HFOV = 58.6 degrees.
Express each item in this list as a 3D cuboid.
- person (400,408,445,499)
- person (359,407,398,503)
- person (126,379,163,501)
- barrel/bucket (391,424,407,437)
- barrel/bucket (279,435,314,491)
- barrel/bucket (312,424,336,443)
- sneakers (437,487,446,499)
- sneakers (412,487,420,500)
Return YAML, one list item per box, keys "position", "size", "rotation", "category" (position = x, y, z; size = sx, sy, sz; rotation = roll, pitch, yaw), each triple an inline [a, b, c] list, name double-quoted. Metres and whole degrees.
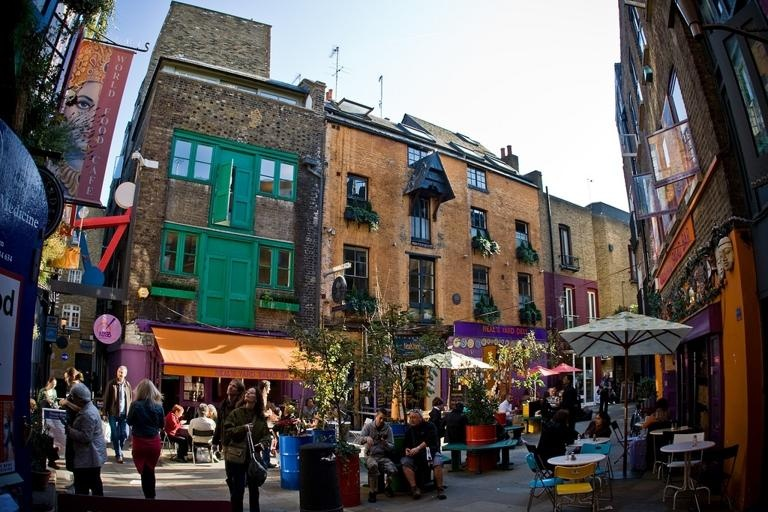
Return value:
- position: [0.918, 4.734, 16.597]
  size: [1.055, 2.093, 1.005]
  rotation: [1, -18, -10]
  category: "person"
- position: [-0.103, 4.746, 16.457]
  size: [0.863, 2.160, 0.615]
  rotation: [3, -18, -18]
  category: "person"
- position: [-5.030, 3.794, 14.435]
  size: [0.710, 2.428, 0.564]
  rotation: [3, -18, -18]
  category: "person"
- position: [0.409, 4.549, 17.916]
  size: [0.380, 0.244, 0.376]
  rotation: [0, -15, 0]
  category: "barrel/bucket"
- position: [-2.053, 5.093, 17.089]
  size: [1.049, 1.187, 1.047]
  rotation: [-1, -11, 0]
  category: "barrel/bucket"
- position: [-1.494, 4.375, 16.863]
  size: [0.572, 0.435, 0.586]
  rotation: [0, -9, 0]
  category: "barrel/bucket"
- position: [1.345, 5.521, 15.903]
  size: [0.212, 0.229, 0.359]
  rotation: [-4, -18, 2]
  category: "sneakers"
- position: [0.776, 5.530, 16.010]
  size: [0.216, 0.276, 0.326]
  rotation: [-3, -18, 1]
  category: "sneakers"
